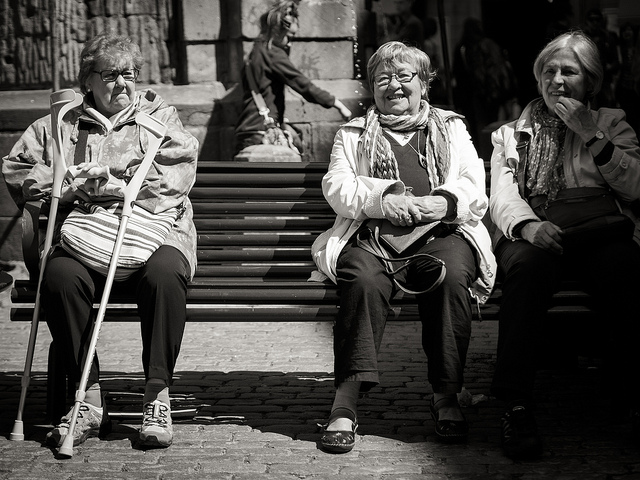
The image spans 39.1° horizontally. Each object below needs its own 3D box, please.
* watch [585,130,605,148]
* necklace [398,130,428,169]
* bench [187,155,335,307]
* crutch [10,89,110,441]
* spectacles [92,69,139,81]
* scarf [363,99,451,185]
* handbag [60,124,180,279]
[{"bbox_3d":[1.535,-0.564,5.012,0.102,0.060,0.099,-34,-5,36],"label":"watch"},{"bbox_3d":[0.538,-0.515,5.272,0.116,0.263,0.015,-32,-17,12],"label":"necklace"},{"bbox_3d":[-0.371,-0.018,5.485,1.137,0.616,0.456,0,2,-1],"label":"bench"},{"bbox_3d":[-1.541,0.071,4.838,0.716,1.717,0.219,8,-10,31],"label":"crutch"},{"bbox_3d":[-1.183,-0.949,5.211,0.262,0.064,0.109,-4,10,-17],"label":"spectacles"},{"bbox_3d":[0.511,-0.597,5.330,0.447,0.482,0.421,5,14,16],"label":"scarf"},{"bbox_3d":[-1.066,-0.152,4.987,0.579,0.689,0.262,32,-23,-4],"label":"handbag"}]
